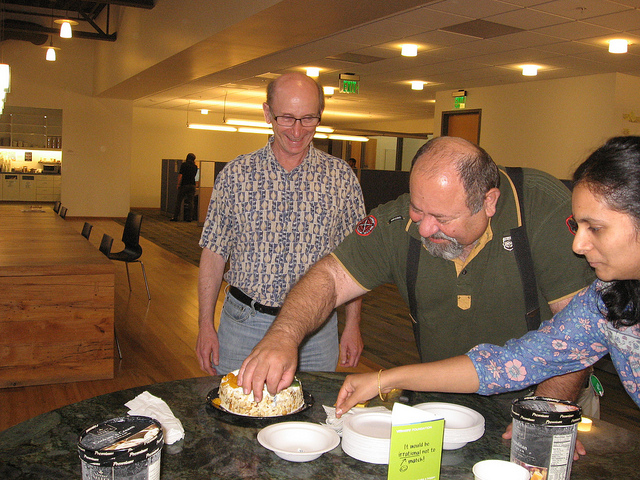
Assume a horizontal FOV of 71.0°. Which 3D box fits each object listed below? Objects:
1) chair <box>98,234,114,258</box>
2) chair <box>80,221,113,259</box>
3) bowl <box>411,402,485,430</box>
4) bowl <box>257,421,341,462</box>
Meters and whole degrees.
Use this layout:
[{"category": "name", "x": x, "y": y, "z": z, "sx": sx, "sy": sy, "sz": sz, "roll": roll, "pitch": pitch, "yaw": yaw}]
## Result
[{"category": "chair", "x": -2.595, "y": 0.087, "z": 5.376, "sx": 0.133, "sy": 0.289, "sz": 0.504, "roll": 0, "pitch": 7, "yaw": -25}, {"category": "chair", "x": -3.567, "y": -0.022, "z": 7.102, "sx": 0.197, "sy": 0.348, "sz": 0.544, "roll": 7, "pitch": 24, "yaw": -44}, {"category": "bowl", "x": 0.396, "y": 0.530, "z": 1.342, "sx": 0.185, "sy": 0.028, "sz": 0.144, "roll": 2, "pitch": 6, "yaw": -10}, {"category": "bowl", "x": -0.062, "y": 0.547, "z": 1.212, "sx": 0.216, "sy": 0.043, "sz": 0.161, "roll": 4, "pitch": 6, "yaw": 10}]
